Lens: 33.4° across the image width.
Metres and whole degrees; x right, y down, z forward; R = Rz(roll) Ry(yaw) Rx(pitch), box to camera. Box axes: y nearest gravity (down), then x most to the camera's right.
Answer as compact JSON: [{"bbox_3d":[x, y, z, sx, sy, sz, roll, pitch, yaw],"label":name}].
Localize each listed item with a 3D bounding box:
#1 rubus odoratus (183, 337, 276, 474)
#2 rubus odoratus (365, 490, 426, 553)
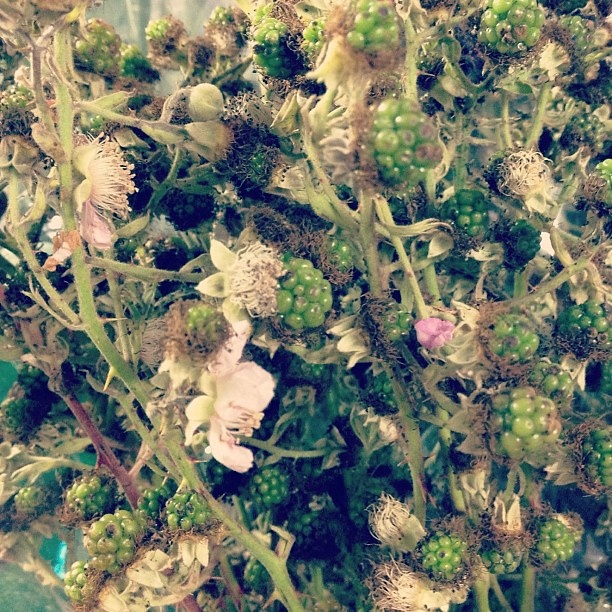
[{"bbox_3d":[-0.193,0.269,2.654,0.187,0.390,0.312,15,73,2],"label":"rubus odoratus"},{"bbox_3d":[0.242,0.572,2.726,0.124,0.093,0.169,-36,89,3],"label":"rubus odoratus"}]
